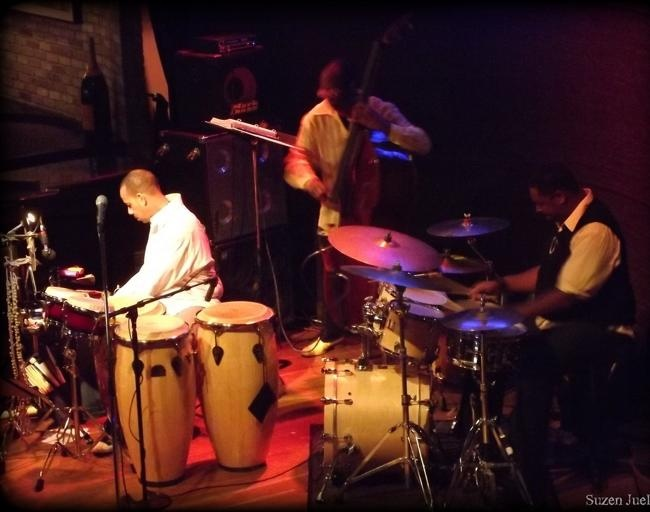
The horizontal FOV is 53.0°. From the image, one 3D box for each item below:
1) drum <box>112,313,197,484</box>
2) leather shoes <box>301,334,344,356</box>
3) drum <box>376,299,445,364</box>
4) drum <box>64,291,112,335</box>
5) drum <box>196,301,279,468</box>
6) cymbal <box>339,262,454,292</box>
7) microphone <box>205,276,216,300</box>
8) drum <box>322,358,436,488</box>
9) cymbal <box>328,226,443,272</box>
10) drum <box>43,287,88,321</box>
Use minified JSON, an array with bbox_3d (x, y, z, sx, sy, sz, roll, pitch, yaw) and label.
[{"bbox_3d":[-1.024,0.888,3.959,0.472,1.025,0.415,-1,17,-13],"label":"drum"},{"bbox_3d":[-0.010,0.781,5.734,0.363,0.130,0.128,-23,25,-10],"label":"leather shoes"},{"bbox_3d":[0.600,0.487,4.161,0.405,0.307,0.406,14,9,-2],"label":"drum"},{"bbox_3d":[-1.494,0.357,4.040,0.238,0.203,0.593,-3,17,-21],"label":"drum"},{"bbox_3d":[-0.553,0.838,4.104,0.499,1.004,0.298,0,17,-12],"label":"drum"},{"bbox_3d":[0.432,0.118,3.807,0.645,0.125,0.330,2,16,-6],"label":"cymbal"},{"bbox_3d":[-0.829,0.224,4.696,0.043,0.163,0.122,12,-6,-30],"label":"microphone"},{"bbox_3d":[0.277,1.048,4.288,0.768,0.904,0.790,2,-7,1],"label":"drum"},{"bbox_3d":[0.371,-0.089,3.825,0.613,0.099,0.586,21,-18,-20],"label":"cymbal"},{"bbox_3d":[-1.691,0.283,4.208,0.233,0.163,0.227,9,6,-1],"label":"drum"}]
